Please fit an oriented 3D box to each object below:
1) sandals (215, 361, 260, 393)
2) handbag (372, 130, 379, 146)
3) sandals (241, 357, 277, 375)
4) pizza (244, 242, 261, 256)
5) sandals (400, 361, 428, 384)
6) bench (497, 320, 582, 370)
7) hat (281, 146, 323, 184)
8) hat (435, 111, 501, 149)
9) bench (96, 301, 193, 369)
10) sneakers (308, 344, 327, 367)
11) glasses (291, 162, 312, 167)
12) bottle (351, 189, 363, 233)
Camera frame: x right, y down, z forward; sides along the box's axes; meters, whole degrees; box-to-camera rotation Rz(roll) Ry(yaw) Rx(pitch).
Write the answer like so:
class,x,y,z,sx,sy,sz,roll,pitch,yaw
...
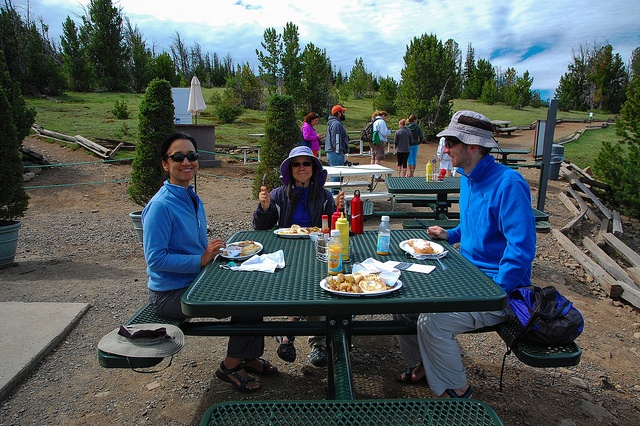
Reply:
class,x,y,z,sx,sy,sz,roll,pitch,yaw
sandals,-0.835,1.717,3.922,0.479,0.202,0.213,20,13,19
handbag,1.934,-2.600,12.852,0.445,0.492,0.266,-4,16,-5
sandals,-0.646,1.664,4.031,0.349,0.113,0.149,2,7,16
pizza,-0.659,0.354,3.688,0.133,0.055,0.100,-10,16,-28
sandals,1.068,1.702,3.960,0.429,0.101,0.166,-2,12,-9
bench,1.872,1.150,3.100,0.477,0.113,0.472,-2,12,-5
hat,-0.213,-0.615,4.869,0.439,0.541,0.302,1,43,-2
hat,1.540,-0.883,3.838,0.650,0.310,0.548,5,27,-15
bench,-1.401,1.084,3.195,0.618,0.262,0.659,1,12,14
sneakers,-0.015,1.622,4.218,0.203,0.177,0.186,0,19,3
glasses,-0.215,-0.608,4.617,0.245,0.060,0.069,-4,19,-10
bottle,0.433,-0.013,4.288,0.160,0.485,0.158,-2,14,0
